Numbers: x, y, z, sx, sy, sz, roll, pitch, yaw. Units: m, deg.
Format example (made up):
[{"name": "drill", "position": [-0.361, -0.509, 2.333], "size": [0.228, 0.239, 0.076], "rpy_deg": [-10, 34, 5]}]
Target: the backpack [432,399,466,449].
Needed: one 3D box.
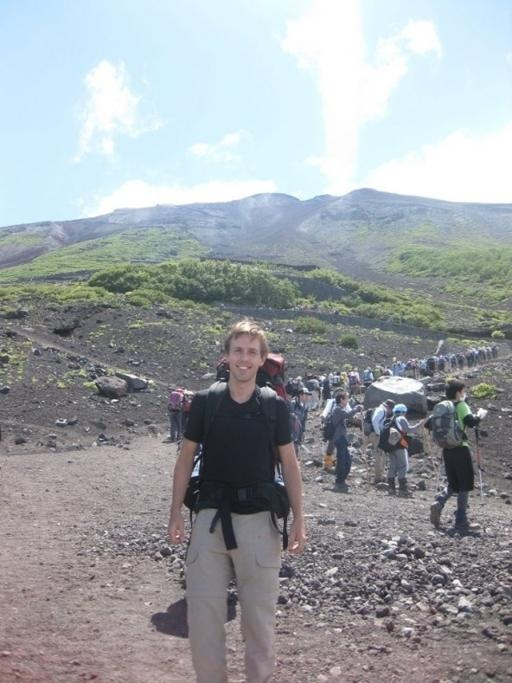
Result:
[{"name": "backpack", "position": [2.145, 0.904, 6.840], "size": [0.332, 0.504, 0.402], "rpy_deg": [15, -26, -25]}]

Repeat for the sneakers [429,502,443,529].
[{"name": "sneakers", "position": [2.040, 1.948, 6.983], "size": [0.116, 0.276, 0.128], "rpy_deg": [-3, -13, 25]}]
